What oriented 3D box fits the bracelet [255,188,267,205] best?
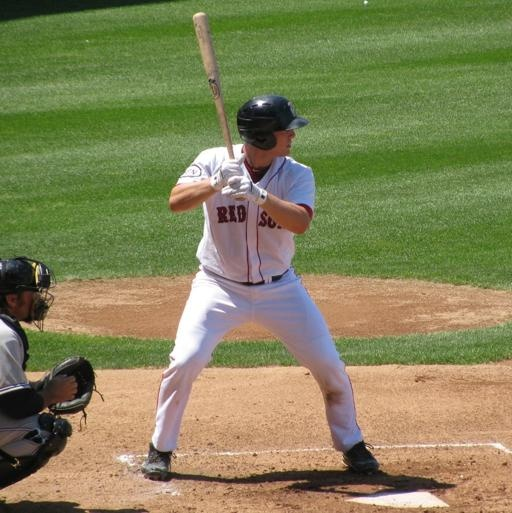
[{"bbox_3d":[0.050,-0.492,9.425,0.115,0.124,0.063,-1,-2,0],"label":"bracelet"}]

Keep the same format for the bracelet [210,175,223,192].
[{"bbox_3d":[-0.326,-0.617,9.486,0.136,0.122,0.127,4,30,4],"label":"bracelet"}]

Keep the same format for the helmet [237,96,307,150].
[{"bbox_3d":[0.107,-1.139,9.637,0.659,0.400,0.427,2,17,8],"label":"helmet"}]

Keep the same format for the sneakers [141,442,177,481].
[{"bbox_3d":[-0.845,1.810,9.610,0.172,0.190,0.421,24,-7,-23],"label":"sneakers"}]
